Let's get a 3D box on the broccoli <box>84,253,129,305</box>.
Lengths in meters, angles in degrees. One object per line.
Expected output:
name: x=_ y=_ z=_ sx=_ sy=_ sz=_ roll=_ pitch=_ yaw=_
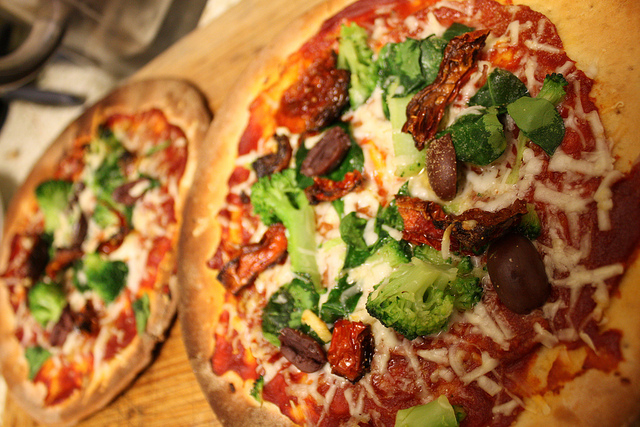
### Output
broccoli: x=-1.470 y=0.436 z=4.784 sx=0.347 sy=0.339 sz=0.120 roll=2 pitch=15 yaw=32

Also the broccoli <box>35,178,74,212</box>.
broccoli: x=-1.834 y=-0.135 z=4.955 sx=0.281 sy=0.092 sz=0.304 roll=-16 pitch=-34 yaw=37

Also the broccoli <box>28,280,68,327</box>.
broccoli: x=-1.903 y=0.621 z=4.860 sx=0.237 sy=0.282 sz=0.081 roll=-22 pitch=-5 yaw=1

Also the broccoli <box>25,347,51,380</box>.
broccoli: x=-1.983 y=1.044 z=4.871 sx=0.193 sy=0.202 sz=0.060 roll=-34 pitch=-6 yaw=4

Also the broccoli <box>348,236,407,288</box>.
broccoli: x=0.355 y=0.323 z=4.340 sx=0.302 sy=0.311 sz=0.102 roll=41 pitch=4 yaw=36

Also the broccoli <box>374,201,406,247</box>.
broccoli: x=0.418 y=0.060 z=4.293 sx=0.223 sy=0.260 sz=0.063 roll=-1 pitch=1 yaw=26

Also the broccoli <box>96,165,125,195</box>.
broccoli: x=-1.438 y=-0.250 z=4.786 sx=0.188 sy=0.192 sz=0.085 roll=-9 pitch=13 yaw=-8

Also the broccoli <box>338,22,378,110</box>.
broccoli: x=0.248 y=-0.961 z=4.364 sx=0.213 sy=0.518 sz=0.060 roll=-5 pitch=13 yaw=4

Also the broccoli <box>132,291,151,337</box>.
broccoli: x=-1.188 y=0.668 z=4.656 sx=0.115 sy=0.272 sz=0.107 roll=-10 pitch=14 yaw=-17

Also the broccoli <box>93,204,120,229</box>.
broccoli: x=-1.472 y=0.004 z=4.788 sx=0.147 sy=0.167 sz=0.053 roll=1 pitch=2 yaw=9
